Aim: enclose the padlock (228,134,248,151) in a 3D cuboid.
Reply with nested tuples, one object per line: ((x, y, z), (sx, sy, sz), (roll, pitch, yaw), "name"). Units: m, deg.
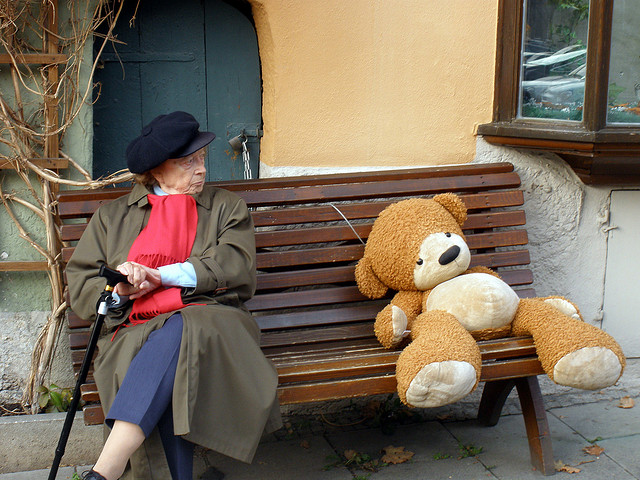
((-0.558, -0.674, 4.140), (0.127, 0.103, 0.144), (-3, 8, -7), "padlock")

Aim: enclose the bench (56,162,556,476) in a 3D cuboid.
((0.075, -0.061, 4.862), (4.321, 2.195, 1.729), (-1, 10, -9), "bench")

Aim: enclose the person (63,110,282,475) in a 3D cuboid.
((-0.718, 0.225, 2.925), (0.920, 1.707, 0.852), (-5, 9, -21), "person")
